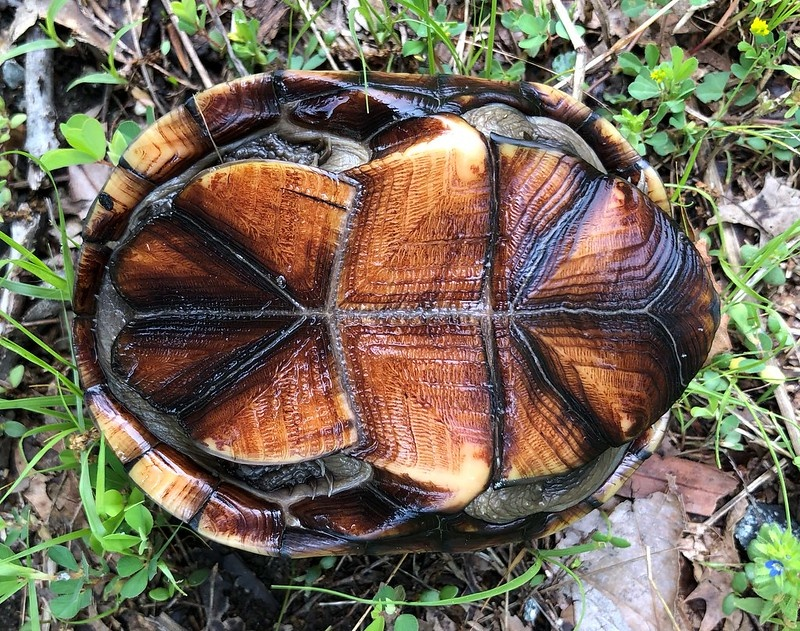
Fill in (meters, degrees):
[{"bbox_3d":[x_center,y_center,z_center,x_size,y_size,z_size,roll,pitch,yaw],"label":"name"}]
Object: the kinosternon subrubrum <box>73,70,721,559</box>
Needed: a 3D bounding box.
[{"bbox_3d":[0.053,-0.024,3.169,2.529,0.638,1.829,7,88,-5],"label":"kinosternon subrubrum"}]
